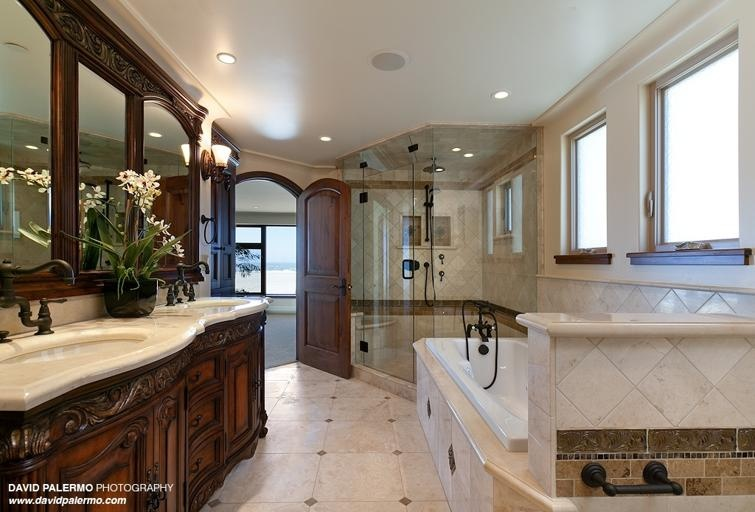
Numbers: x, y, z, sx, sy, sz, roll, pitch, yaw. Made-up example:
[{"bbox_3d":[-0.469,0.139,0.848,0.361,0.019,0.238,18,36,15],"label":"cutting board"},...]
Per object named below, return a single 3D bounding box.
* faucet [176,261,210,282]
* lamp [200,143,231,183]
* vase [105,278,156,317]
[{"bbox_3d":[-1.457,0.132,4.148,0.199,0.087,0.204,-2,-3,2],"label":"faucet"},{"bbox_3d":[-1.419,-0.822,4.592,0.225,0.341,0.229,0,3,-7],"label":"lamp"},{"bbox_3d":[-1.543,0.249,3.297,0.332,0.282,0.218,0,2,-4],"label":"vase"}]
